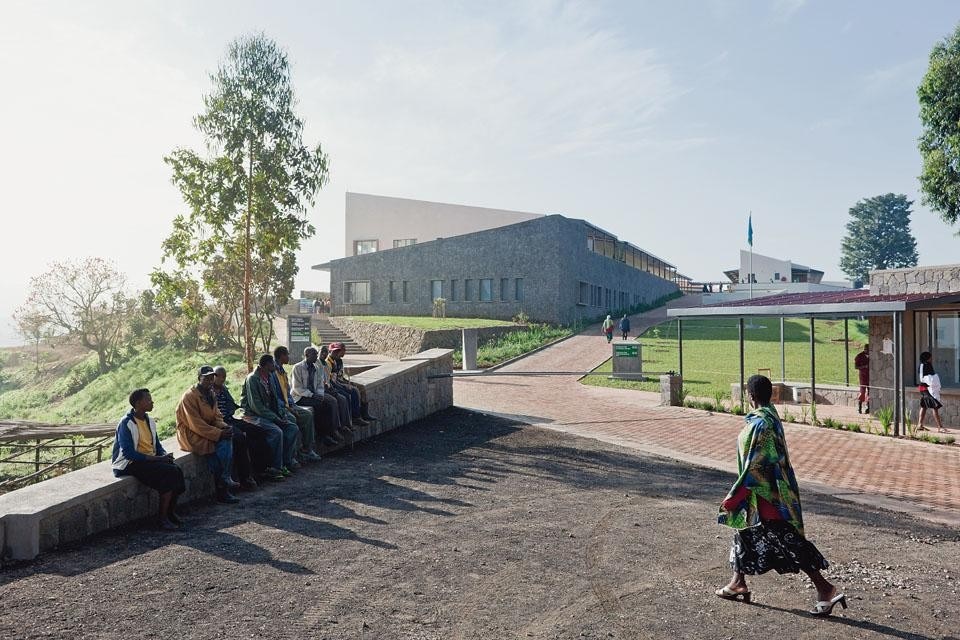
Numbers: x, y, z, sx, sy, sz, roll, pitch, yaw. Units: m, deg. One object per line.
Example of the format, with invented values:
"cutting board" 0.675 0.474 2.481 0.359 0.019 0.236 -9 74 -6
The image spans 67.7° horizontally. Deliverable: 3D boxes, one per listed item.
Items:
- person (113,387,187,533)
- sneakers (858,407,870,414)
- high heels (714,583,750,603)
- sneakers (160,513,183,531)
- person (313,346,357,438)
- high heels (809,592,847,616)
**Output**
"person" -5.244 2.134 11.340 1.104 2.036 0.651 4 10 14
"sneakers" 11.113 2.682 20.796 0.350 0.254 0.269 -5 -5 28
"high heels" 3.456 3.722 9.737 0.367 0.141 0.200 2 -10 14
"sneakers" -4.753 3.158 11.132 0.287 0.169 0.355 -7 12 -38
"person" -3.024 1.454 15.465 0.584 1.754 0.939 -17 13 -36
"high heels" 4.565 3.770 9.431 0.525 0.228 0.228 -10 -15 -12
